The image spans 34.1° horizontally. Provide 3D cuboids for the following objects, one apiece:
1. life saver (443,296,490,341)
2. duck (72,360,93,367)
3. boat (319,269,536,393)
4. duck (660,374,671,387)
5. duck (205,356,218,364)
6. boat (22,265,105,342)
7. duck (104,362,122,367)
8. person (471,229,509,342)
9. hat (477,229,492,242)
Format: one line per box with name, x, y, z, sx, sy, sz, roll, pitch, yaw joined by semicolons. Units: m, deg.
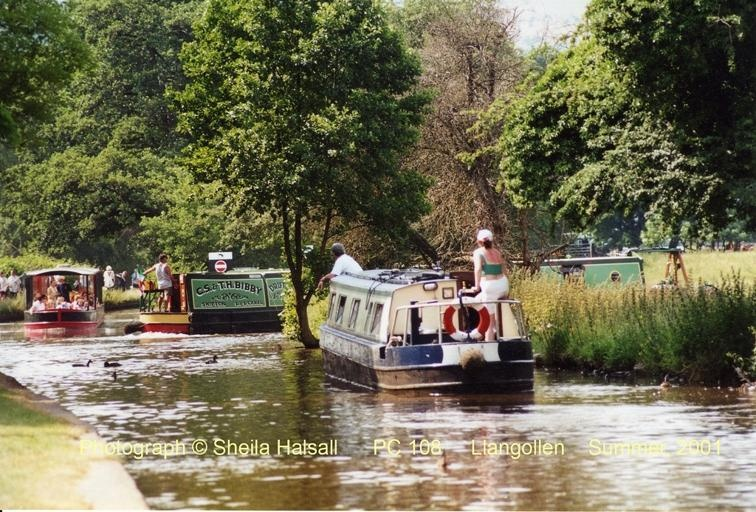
life saver;2.380;1.707;32.605;1.271;1.011;0.650;-1;7;2
duck;-9.624;3.474;40.242;0.602;0.286;0.183;-5;1;16
boat;0.779;1.944;34.746;2.591;2.302;6.613;-1;3;-17
duck;7.948;3.421;34.021;0.222;0.091;0.374;6;14;7
duck;-5.396;3.369;40.336;0.202;0.263;0.400;6;10;43
boat;-15.289;2.032;60.090;3.613;2.738;11.814;-2;7;-13
duck;-8.438;3.417;39.201;0.306;0.121;0.222;6;-6;-7
person;3.048;0.832;33.220;1.082;3.289;1.222;2;11;17
hat;2.845;-0.598;32.769;0.340;0.325;0.490;0;7;3
